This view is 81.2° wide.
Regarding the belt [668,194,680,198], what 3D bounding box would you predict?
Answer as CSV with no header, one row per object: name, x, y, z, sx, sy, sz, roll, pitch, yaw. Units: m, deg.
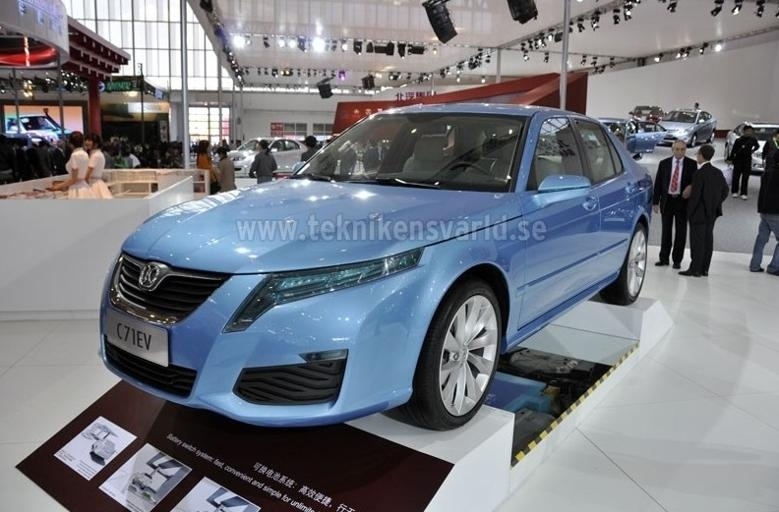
belt,4.764,-0.990,7.612,0.017,0.061,0.135,-17,24,-40

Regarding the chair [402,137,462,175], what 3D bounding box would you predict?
chair,0.300,-0.717,3.252,0.327,0.352,0.304,3,-2,26

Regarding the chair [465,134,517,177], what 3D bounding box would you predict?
chair,0.680,-0.687,3.060,0.224,0.181,0.402,18,26,31

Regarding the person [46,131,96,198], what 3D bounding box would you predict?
person,-4.719,-1.337,6.625,0.566,0.862,1.747,-14,22,-33

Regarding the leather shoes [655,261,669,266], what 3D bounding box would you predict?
leather shoes,4.706,0.152,7.846,0.219,0.094,0.083,0,4,-23
